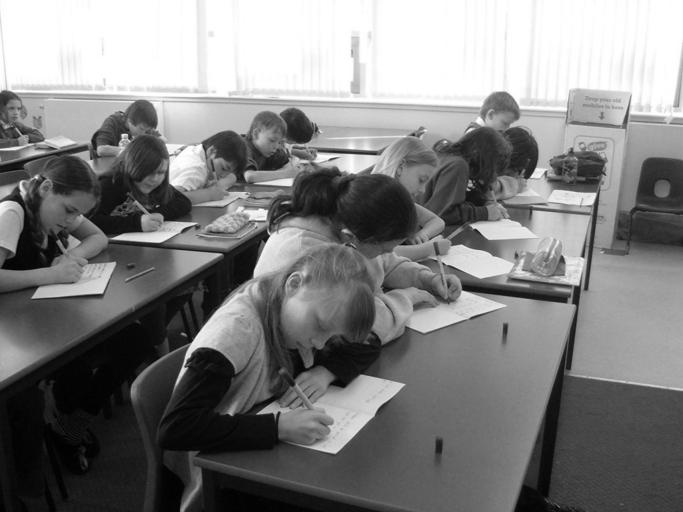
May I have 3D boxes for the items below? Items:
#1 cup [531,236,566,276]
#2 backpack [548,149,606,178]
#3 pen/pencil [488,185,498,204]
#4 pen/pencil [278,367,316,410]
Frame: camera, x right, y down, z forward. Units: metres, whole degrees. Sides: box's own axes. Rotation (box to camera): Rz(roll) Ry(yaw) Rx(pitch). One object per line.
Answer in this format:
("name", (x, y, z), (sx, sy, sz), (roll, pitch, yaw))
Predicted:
("cup", (0.854, 0.010, 2.137), (0.094, 0.047, 0.175), (25, 65, 28))
("backpack", (1.754, -0.679, 3.856), (0.340, 0.180, 0.249), (7, 19, 17))
("pen/pencil", (0.893, -0.363, 3.060), (0.022, 0.023, 0.218), (-35, 9, 22))
("pen/pencil", (-0.119, 0.348, 1.333), (0.016, 0.121, 0.022), (-41, 27, -18))
